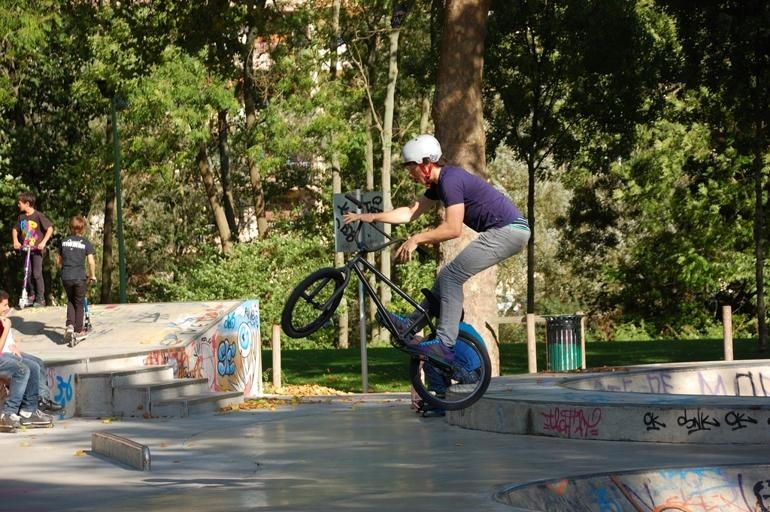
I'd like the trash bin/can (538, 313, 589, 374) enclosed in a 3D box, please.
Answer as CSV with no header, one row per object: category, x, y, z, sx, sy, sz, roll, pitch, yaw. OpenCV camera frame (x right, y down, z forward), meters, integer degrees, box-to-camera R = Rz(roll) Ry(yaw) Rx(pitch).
trash bin/can,5.039,2.487,32.765,1.344,1.979,1.400,-3,-6,22
